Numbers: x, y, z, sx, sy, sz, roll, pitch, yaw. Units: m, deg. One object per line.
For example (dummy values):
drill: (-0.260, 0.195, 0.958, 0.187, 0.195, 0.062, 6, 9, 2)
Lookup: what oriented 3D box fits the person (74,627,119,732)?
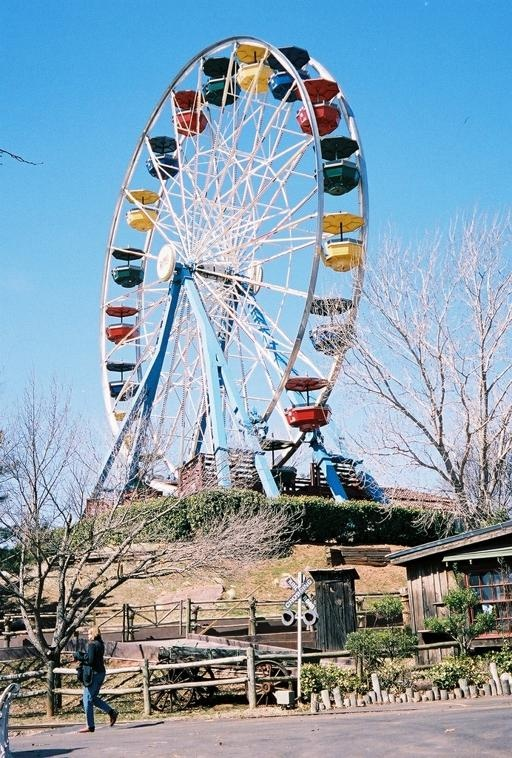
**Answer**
person: (-1.974, 3.683, 12.370, 0.467, 1.267, 1.123, -1, -11, -9)
